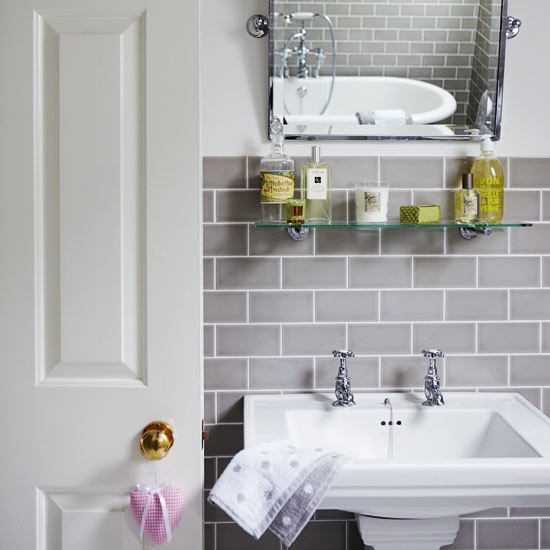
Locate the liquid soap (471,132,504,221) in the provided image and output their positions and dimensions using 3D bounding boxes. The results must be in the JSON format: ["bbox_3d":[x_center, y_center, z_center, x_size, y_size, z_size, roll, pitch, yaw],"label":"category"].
[{"bbox_3d":[0.520,-0.222,2.082,0.059,0.260,0.091,1,1,-3],"label":"liquid soap"}]

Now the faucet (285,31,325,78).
[{"bbox_3d":[0.069,-0.548,2.078,0.089,0.118,0.047,-2,12,2],"label":"faucet"}]

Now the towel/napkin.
[{"bbox_3d":[0.001,0.437,1.720,0.206,0.225,0.067,30,-24,18],"label":"towel/napkin"}]

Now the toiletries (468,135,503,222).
[{"bbox_3d":[0.514,-0.241,2.086,0.069,0.222,0.084,3,10,6],"label":"toiletries"}]

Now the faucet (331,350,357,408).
[{"bbox_3d":[0.169,0.255,2.072,0.080,0.160,0.107,0,-3,1],"label":"faucet"}]

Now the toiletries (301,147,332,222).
[{"bbox_3d":[0.101,-0.223,2.037,0.067,0.183,0.045,0,4,1],"label":"toiletries"}]

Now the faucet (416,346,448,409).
[{"bbox_3d":[0.390,0.252,2.081,0.054,0.133,0.066,6,13,18],"label":"faucet"}]

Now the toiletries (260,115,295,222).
[{"bbox_3d":[0.004,-0.264,2.051,0.085,0.263,0.153,-1,4,-1],"label":"toiletries"}]
